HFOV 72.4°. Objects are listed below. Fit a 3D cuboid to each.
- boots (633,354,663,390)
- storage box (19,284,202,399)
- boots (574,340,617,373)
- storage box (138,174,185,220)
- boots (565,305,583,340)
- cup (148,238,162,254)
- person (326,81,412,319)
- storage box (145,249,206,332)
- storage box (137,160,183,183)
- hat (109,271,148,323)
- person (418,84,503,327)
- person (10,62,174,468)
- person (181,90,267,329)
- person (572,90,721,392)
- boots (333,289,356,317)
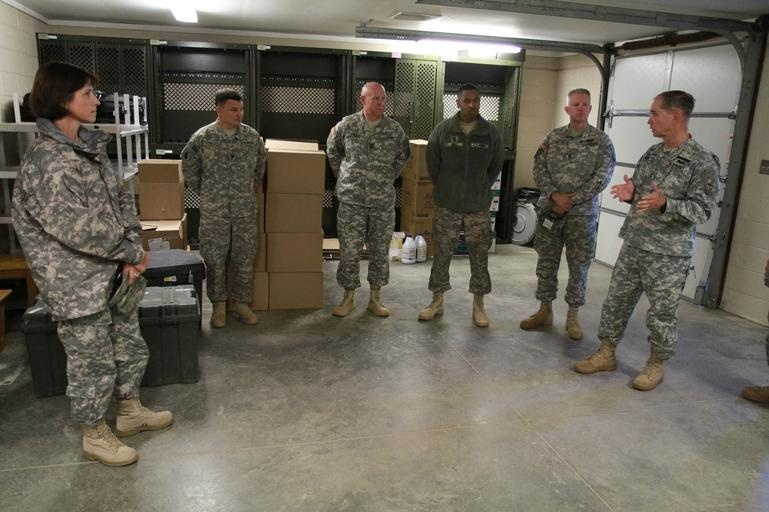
[{"bbox_3d":[2.193,0.953,4.370,0.424,0.238,0.154,-3,9,-45],"label":"boots"},{"bbox_3d":[-2.060,0.421,4.310,1.257,0.585,0.874,-2,14,-14],"label":"storage box"},{"bbox_3d":[1.833,0.874,4.586,0.389,0.247,0.148,0,2,-14],"label":"boots"},{"bbox_3d":[-2.320,-0.597,5.520,0.449,0.395,0.419,-1,8,-10],"label":"storage box"},{"bbox_3d":[1.895,0.661,5.234,0.129,0.289,0.331,2,15,3],"label":"boots"},{"bbox_3d":[-2.220,-0.090,5.078,0.137,0.129,0.075,-5,11,7],"label":"cup"},{"bbox_3d":[-0.164,-0.551,5.391,0.818,2.330,0.506,-1,15,-5],"label":"person"},{"bbox_3d":[-1.863,0.274,4.984,0.604,0.513,0.799,-1,18,-10],"label":"storage box"},{"bbox_3d":[-2.328,-0.880,5.451,0.512,0.235,0.313,1,-3,-14],"label":"storage box"},{"bbox_3d":[-1.644,0.237,3.393,0.126,0.202,0.265,27,9,-26],"label":"hat"},{"bbox_3d":[0.759,-0.488,5.296,0.759,2.363,0.503,3,15,11],"label":"person"},{"bbox_3d":[-1.823,0.095,3.278,0.718,2.490,0.542,-9,17,-32],"label":"person"},{"bbox_3d":[-1.491,-0.428,5.024,0.754,2.212,0.387,-5,15,-19],"label":"person"},{"bbox_3d":[2.150,-0.115,4.274,0.871,2.367,0.580,-3,15,-12],"label":"person"},{"bbox_3d":[-0.410,0.511,5.477,0.140,0.230,0.355,8,9,23],"label":"boots"}]
